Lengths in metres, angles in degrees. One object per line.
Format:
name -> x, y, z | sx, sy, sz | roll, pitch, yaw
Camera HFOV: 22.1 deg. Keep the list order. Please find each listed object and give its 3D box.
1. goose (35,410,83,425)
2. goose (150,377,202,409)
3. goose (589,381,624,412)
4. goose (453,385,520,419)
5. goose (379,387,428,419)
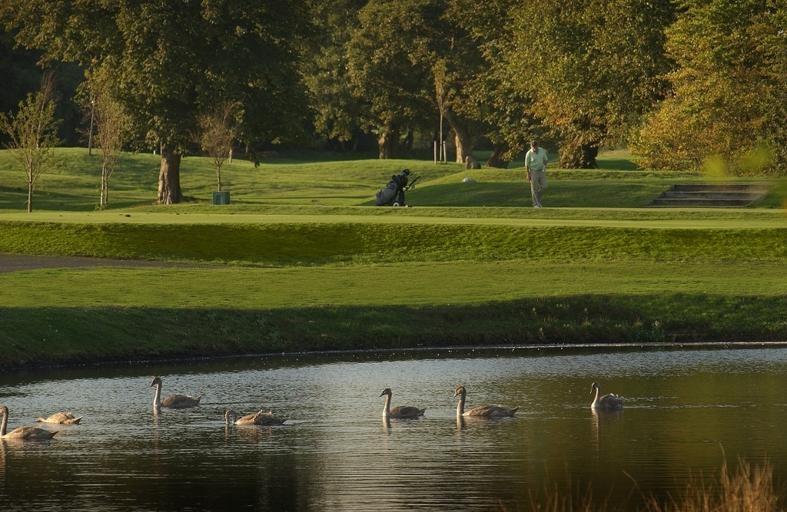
goose -> -12.336, 5.937, 74.948 | 1.320, 0.367, 0.617 | 1, 2, 11
goose -> -8.197, 5.189, 76.169 | 2.422, 1.504, 0.828 | 2, -7, -2
goose -> 7.940, 5.290, 76.248 | 1.357, 1.009, 0.819 | 4, -4, -2
goose -> 3.490, 5.417, 75.307 | 2.683, 1.506, 1.016 | 0, -12, 7
goose -> 0.317, 5.379, 75.303 | 1.505, 1.187, 0.610 | -1, 1, -2
